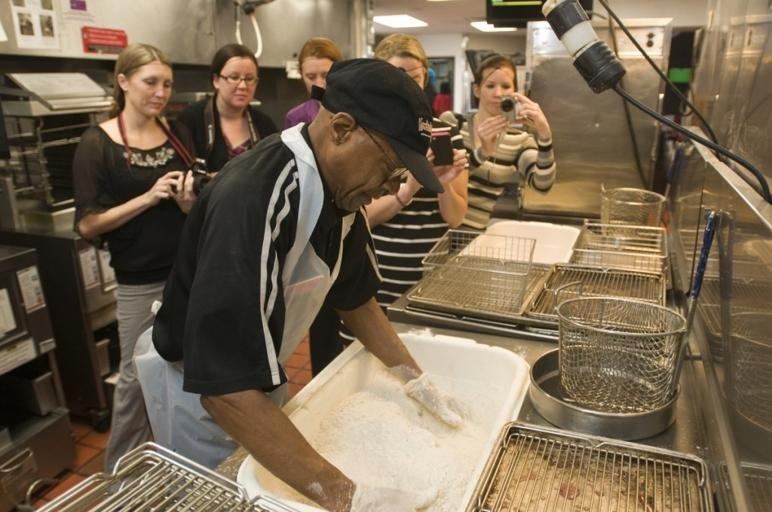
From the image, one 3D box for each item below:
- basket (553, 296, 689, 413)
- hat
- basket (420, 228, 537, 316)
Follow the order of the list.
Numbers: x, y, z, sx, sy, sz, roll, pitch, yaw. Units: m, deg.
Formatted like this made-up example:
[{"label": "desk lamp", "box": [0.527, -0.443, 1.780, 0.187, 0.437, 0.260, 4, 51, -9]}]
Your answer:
[{"label": "basket", "box": [0.660, 0.299, 1.643, 0.321, 0.265, 0.367, 11, 18, 42]}, {"label": "hat", "box": [-0.020, -0.337, 1.503, 0.372, 0.211, 0.254, 32, 20, -5]}, {"label": "basket", "box": [0.332, 0.071, 2.165, 0.363, 0.158, 0.385, 4, 32, 17]}]
